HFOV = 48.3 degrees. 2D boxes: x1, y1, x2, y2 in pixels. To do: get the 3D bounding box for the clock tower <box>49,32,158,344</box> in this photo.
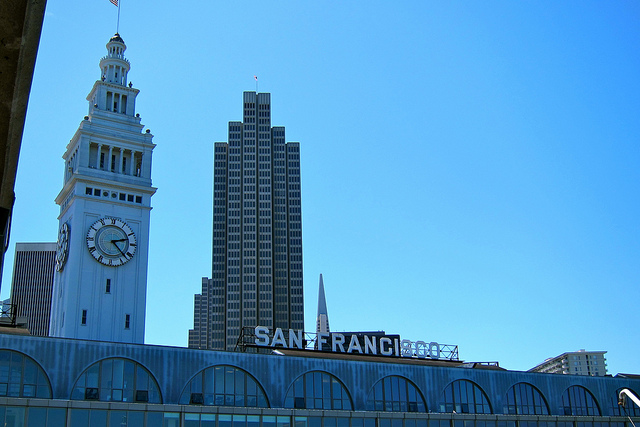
[{"bbox_3d":[-30.918,-5.896,105.385,12.166,50.293,6.653,8,-25,-21],"label":"clock tower"}]
